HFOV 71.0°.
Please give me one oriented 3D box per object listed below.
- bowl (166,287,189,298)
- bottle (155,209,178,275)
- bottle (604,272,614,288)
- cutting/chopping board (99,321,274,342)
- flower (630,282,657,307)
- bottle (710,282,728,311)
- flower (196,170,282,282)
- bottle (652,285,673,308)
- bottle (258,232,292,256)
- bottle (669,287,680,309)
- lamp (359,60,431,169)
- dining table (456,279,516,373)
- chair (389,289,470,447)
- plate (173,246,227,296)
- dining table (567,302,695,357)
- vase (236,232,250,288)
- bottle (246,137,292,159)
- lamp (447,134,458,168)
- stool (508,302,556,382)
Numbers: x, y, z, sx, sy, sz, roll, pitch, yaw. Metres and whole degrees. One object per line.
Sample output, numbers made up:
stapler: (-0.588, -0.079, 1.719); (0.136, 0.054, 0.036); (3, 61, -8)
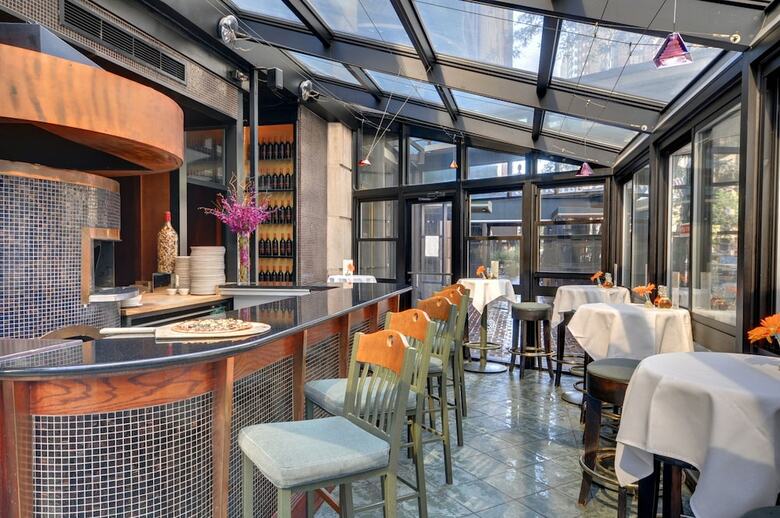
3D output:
bowl: (-2.270, 0.356, 5.858); (0.236, 0.072, 0.075); (1, 7, 6)
bottle: (-2.387, -0.159, 5.895); (0.193, 0.656, 0.374); (-3, 8, -23)
bottle: (2.568, 0.255, 6.444); (0.122, 0.208, 0.099); (10, -15, -16)
cutting/chopping board: (-1.270, 0.459, 3.439); (1.049, 0.078, 0.342); (0, 7, 0)
flower: (2.616, 0.375, 5.636); (0.215, 0.247, 0.249); (6, 6, 35)
bottle: (2.715, 0.304, 4.509); (0.054, 0.238, 0.280); (2, 7, 15)
flower: (-1.684, -0.336, 6.331); (0.773, 1.116, 0.840); (0, 1, 1)
bottle: (2.573, 0.358, 5.154); (0.159, 0.248, 0.250); (-1, -10, 17)
bottle: (-1.658, -0.203, 7.963); (0.342, 0.251, 0.107); (1, 5, 2)
bottle: (2.755, 0.387, 5.292); (0.031, 0.303, 0.167); (3, -4, 6)
lamp: (0.118, -2.121, 8.116); (0.831, 0.822, 0.249); (18, 11, 7)
dining table: (1.204, 0.891, 7.518); (1.079, 1.378, 1.110); (1, -5, -1)
chair: (0.372, 1.033, 4.993); (0.750, 1.253, 0.698); (-14, -3, -8)
plate: (-1.996, 0.130, 6.033); (0.510, 0.484, 0.499); (3, 2, 14)
dining table: (2.164, 0.569, 4.948); (0.665, 0.327, 0.620); (2, 2, 24)
vase: (-1.615, -0.001, 6.079); (0.103, 0.559, 0.138); (-3, 8, -24)
bottle: (-1.640, -1.561, 7.940); (0.539, 0.268, 0.111); (2, 7, 17)
lamp: (1.008, -1.643, 8.430); (0.109, 0.549, 0.406); (1, 7, 9)
stool: (1.780, 1.030, 6.905); (0.602, 0.812, 0.568); (0, -3, -22)
